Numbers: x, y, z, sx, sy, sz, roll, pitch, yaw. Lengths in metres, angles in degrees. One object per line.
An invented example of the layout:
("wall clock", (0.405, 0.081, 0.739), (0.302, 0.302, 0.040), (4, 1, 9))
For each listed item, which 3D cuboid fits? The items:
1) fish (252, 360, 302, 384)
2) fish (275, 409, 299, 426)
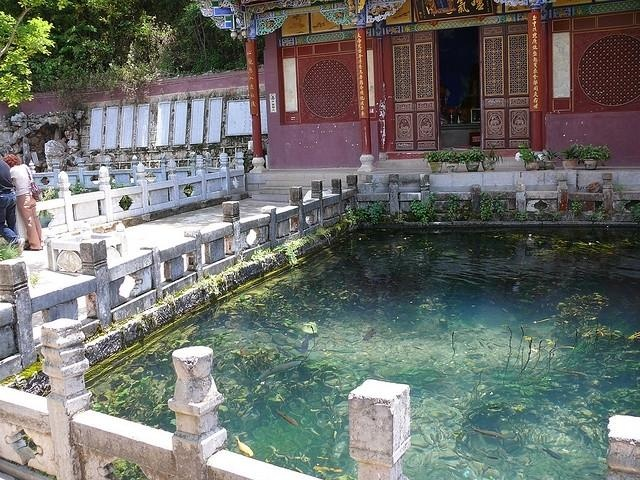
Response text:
("fish", (-0.472, 1.511, 6.153), (0.518, 0.141, 0.177), (-10, 16, -37))
("fish", (-0.319, 1.785, 5.318), (0.282, 0.116, 0.073), (20, 44, 41))
